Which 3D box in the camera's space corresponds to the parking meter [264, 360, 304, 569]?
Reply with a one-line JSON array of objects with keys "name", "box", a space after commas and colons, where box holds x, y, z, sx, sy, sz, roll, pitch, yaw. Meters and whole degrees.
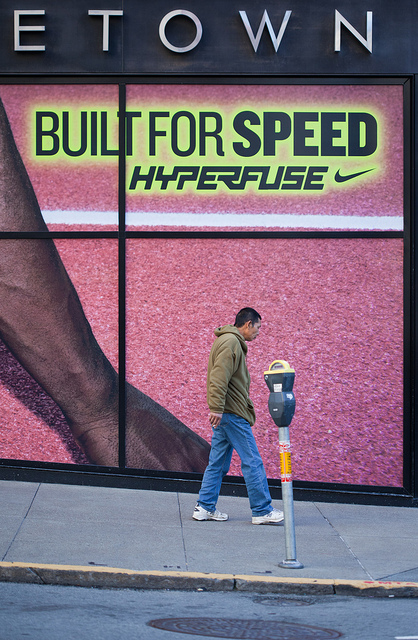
[{"name": "parking meter", "box": [0.520, 0.964, 9.189, 0.424, 1.198, 0.351, 1, 2, -5]}]

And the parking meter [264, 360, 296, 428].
[{"name": "parking meter", "box": [0.492, 0.498, 9.152, 0.197, 0.504, 0.327, 0, 13, 3]}]
